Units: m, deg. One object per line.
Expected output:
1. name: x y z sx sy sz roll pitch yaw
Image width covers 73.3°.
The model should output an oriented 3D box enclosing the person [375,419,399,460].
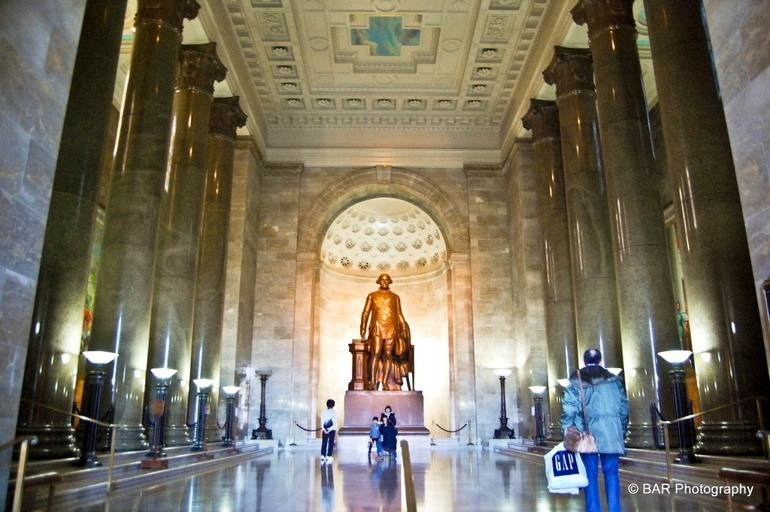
1. person: 0.038 4.522 12.961 0.454 0.960 1.291 -3 -18 -2

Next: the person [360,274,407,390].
1. person: -0.009 2.654 18.608 1.655 4.176 0.555 -1 -19 -7
